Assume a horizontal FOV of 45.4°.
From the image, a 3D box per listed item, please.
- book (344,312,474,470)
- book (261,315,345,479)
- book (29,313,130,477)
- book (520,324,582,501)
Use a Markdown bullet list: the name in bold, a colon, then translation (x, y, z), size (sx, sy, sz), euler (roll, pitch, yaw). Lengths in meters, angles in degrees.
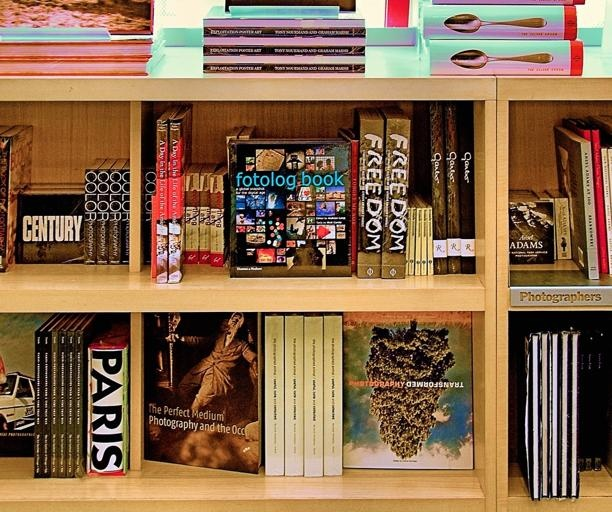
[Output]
- **book**: translation (0.273, 0.325, 1.860), size (0.384, 0.515, 0.053), euler (0, 2, 1)
- **book**: translation (0.003, 0.339, 2.029), size (0.325, 0.490, 0.354), euler (-1, 5, -3)
- **book**: translation (-0.542, 0.354, 2.040), size (0.318, 0.485, 0.353), euler (1, 2, -3)
- **book**: translation (0.596, 0.385, 1.770), size (0.086, 0.342, 0.241), euler (2, 1, 0)
